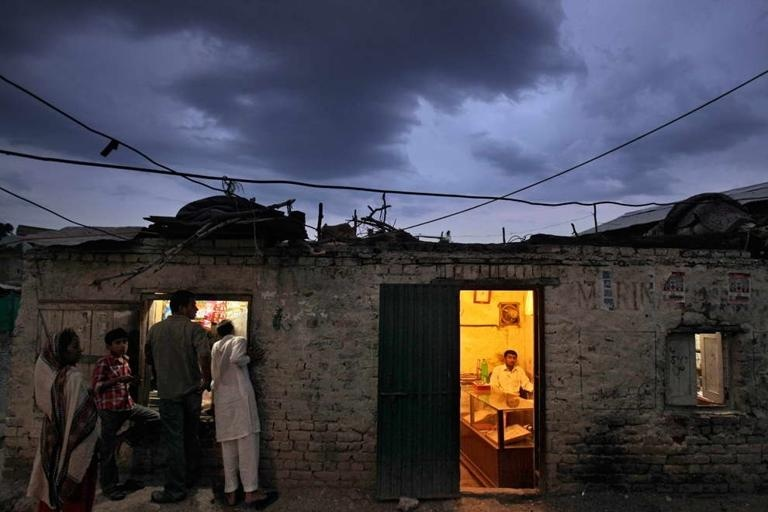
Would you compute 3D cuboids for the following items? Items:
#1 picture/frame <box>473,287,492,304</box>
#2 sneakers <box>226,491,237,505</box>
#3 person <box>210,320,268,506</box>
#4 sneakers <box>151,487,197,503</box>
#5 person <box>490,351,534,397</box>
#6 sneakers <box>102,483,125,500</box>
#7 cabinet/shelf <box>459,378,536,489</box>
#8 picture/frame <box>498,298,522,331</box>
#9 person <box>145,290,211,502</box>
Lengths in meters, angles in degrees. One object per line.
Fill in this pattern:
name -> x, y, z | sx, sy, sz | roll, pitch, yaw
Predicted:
picture/frame -> 2.037, 0.850, 13.031 | 0.377, 0.243, 0.156 | 0, -7, 2
sneakers -> -2.183, 3.495, 9.151 | 0.165, 0.195, 0.148 | 2, -7, -15
person -> -2.112, 2.385, 9.191 | 0.757, 2.444, 0.299 | 4, -7, -29
sneakers -> -3.086, 3.458, 9.179 | 0.440, 0.157, 0.215 | 9, -9, -5
person -> 2.359, 2.188, 11.502 | 0.854, 0.913, 0.771 | -1, -3, 12
sneakers -> -3.854, 3.408, 9.128 | 0.348, 0.132, 0.157 | 0, -6, 14
cabinet/shelf -> 1.894, 2.994, 10.435 | 0.641, 1.000, 1.842 | 1, -7, -10
picture/frame -> 2.581, 1.167, 12.925 | 0.752, 0.758, 0.118 | 0, 0, 3
person -> -3.002, 2.030, 9.197 | 0.846, 3.028, 0.656 | 3, -7, -19
